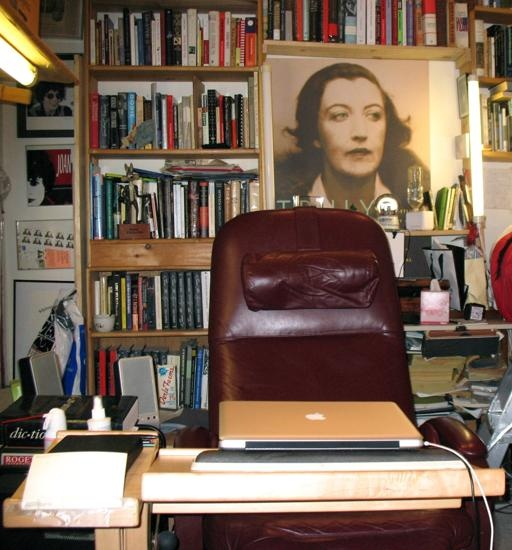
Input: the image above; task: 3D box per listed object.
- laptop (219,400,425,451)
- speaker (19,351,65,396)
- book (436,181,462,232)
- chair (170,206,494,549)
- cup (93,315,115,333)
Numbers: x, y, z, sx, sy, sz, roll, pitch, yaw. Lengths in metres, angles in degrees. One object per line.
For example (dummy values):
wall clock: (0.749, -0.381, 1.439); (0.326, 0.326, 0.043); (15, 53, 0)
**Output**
laptop: (0.102, 0.257, 0.992); (0.331, 0.037, 0.186); (-2, 6, -3)
speaker: (-0.624, 0.289, 1.635); (0.046, 0.168, 0.176); (-8, -2, 6)
book: (0.885, -0.328, 2.620); (0.058, 0.186, 0.138); (6, -4, -11)
chair: (0.150, 0.210, 1.345); (0.562, 0.792, 0.674); (-1, -14, -3)
cup: (-0.664, 0.214, 2.492); (0.073, 0.065, 0.078); (-1, -13, 0)
